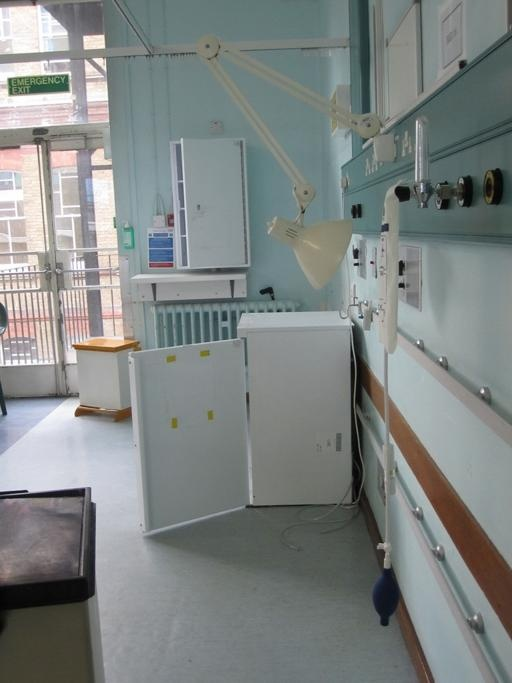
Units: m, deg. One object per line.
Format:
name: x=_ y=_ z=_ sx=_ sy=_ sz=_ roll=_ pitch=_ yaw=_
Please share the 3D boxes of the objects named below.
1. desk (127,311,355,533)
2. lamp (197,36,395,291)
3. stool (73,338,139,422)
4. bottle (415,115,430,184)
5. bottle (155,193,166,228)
desk: x=-0.002 y=0.406 z=2.921 sx=1.211 sy=1.187 sz=0.960 roll=0 pitch=14 yaw=4
lamp: x=0.098 y=-0.510 z=1.537 sx=0.489 sy=0.699 sz=0.249 roll=2 pitch=9 yaw=25
stool: x=-1.206 y=0.312 z=4.274 sx=0.477 sy=0.722 sz=0.481 roll=5 pitch=11 yaw=24
bottle: x=0.292 y=-0.341 z=0.950 sx=0.021 sy=0.107 sz=0.065 roll=1 pitch=9 yaw=18
bottle: x=-0.873 y=-1.171 z=4.760 sx=0.103 sy=0.321 sz=0.127 roll=-3 pitch=9 yaw=-6
